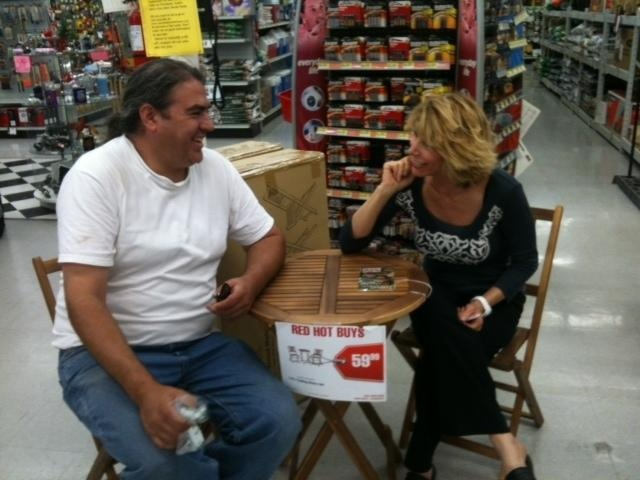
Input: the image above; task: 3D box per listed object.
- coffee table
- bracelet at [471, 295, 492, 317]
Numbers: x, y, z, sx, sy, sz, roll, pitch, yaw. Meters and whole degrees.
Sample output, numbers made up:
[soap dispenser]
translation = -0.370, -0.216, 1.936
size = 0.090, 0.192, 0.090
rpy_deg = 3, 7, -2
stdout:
[coffee table]
translation = 0.094, 0.541, 2.311
size = 0.926, 0.972, 0.899
rpy_deg = -1, 12, 3
[bracelet]
translation = 0.681, 0.266, 2.141
size = 0.052, 0.086, 0.066
rpy_deg = -25, 15, -12
